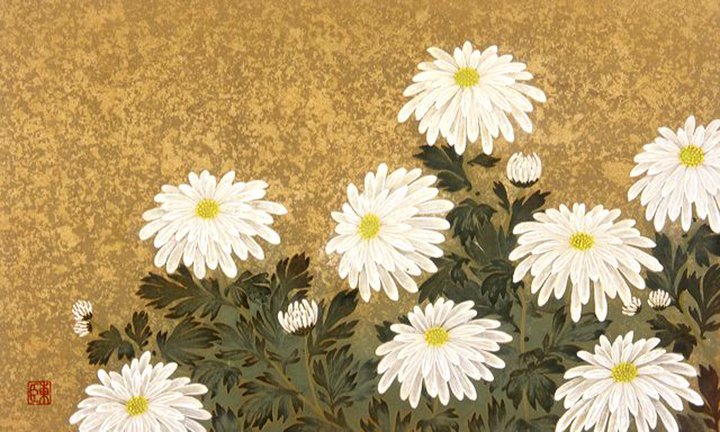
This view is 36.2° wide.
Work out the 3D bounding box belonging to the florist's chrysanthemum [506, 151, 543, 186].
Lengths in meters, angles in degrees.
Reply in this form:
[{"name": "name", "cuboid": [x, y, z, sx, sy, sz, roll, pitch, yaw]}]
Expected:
[{"name": "florist's chrysanthemum", "cuboid": [0.465, -0.128, 3.112, 0.079, 0.103, 0.055, 1, -6, 5]}]
